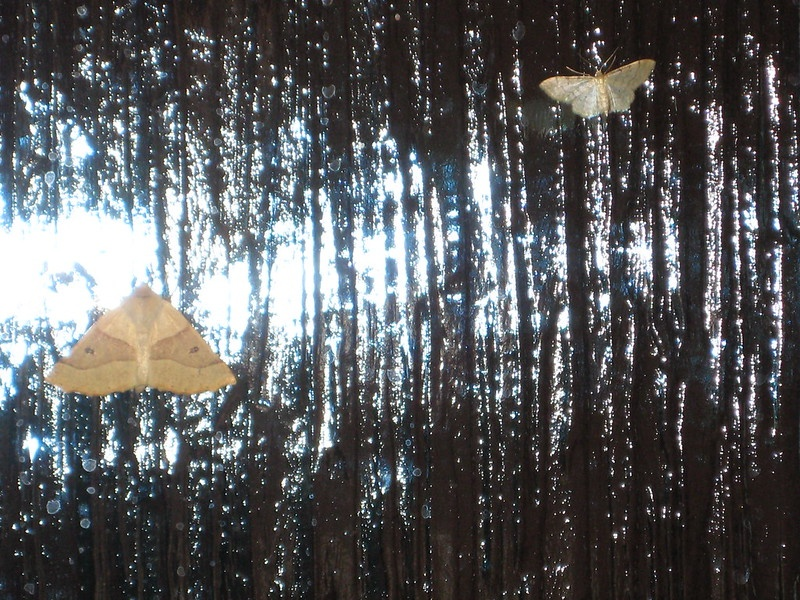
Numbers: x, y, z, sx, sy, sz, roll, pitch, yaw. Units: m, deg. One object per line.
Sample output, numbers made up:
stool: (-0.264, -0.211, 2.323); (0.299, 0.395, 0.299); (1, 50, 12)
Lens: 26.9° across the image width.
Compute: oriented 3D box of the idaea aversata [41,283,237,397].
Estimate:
idaea aversata: (-0.189, 0.032, 1.150); (0.101, 0.031, 0.086); (7, -90, 0)
